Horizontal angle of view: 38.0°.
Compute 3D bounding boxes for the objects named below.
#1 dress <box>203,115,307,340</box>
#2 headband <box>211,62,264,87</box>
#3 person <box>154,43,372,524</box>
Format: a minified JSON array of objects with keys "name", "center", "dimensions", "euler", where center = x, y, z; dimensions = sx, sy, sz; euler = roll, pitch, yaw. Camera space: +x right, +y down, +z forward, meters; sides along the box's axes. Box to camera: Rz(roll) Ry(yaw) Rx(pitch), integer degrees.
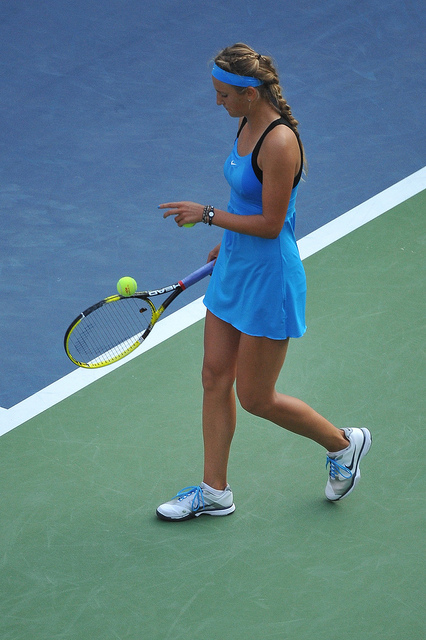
[{"name":"dress","center":[0.162,-0.305,2.049],"dimensions":[0.313,0.741,0.436],"euler":[-6,10,-17]},{"name":"headband","center":[0.070,-0.711,1.837],"dimensions":[0.107,0.022,0.093],"euler":[1,8,-17]},{"name":"person","center":[0.136,-0.036,2.085],"dimensions":[0.768,1.654,0.531],"euler":[-4,10,-7]}]
